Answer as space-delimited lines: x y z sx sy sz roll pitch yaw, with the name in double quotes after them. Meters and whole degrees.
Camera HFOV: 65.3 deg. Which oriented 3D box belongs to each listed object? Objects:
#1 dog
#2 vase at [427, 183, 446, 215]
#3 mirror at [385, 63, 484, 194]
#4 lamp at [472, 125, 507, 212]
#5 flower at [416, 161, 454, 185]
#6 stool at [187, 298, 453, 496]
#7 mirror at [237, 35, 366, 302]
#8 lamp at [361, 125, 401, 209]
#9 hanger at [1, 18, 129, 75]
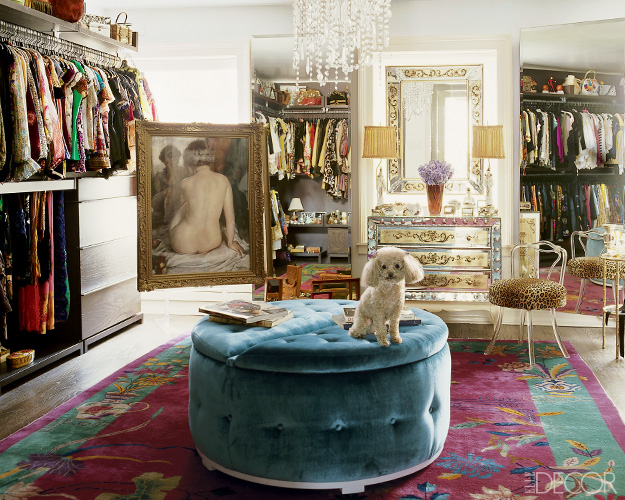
0.305 0.197 2.244 0.246 0.438 0.365 1 5 -22 "dog"
1.174 -0.484 4.690 0.155 0.296 0.243 1 15 13 "vase"
1.268 -1.281 4.943 1.286 1.681 0.066 -1 -1 1 "mirror"
1.699 -0.810 4.684 0.297 0.740 0.472 4 16 22 "lamp"
1.208 -0.728 4.706 0.244 0.239 0.276 2 2 30 "flower"
0.053 0.687 2.198 1.173 0.657 0.504 -5 15 -9 "stool"
-0.091 -1.353 6.414 1.644 2.268 0.807 -3 8 2 "mirror"
0.672 -0.825 4.845 0.322 0.782 0.517 0 14 7 "lamp"
-1.947 -1.575 3.868 0.111 0.120 1.264 2 4 16 "hanger"
